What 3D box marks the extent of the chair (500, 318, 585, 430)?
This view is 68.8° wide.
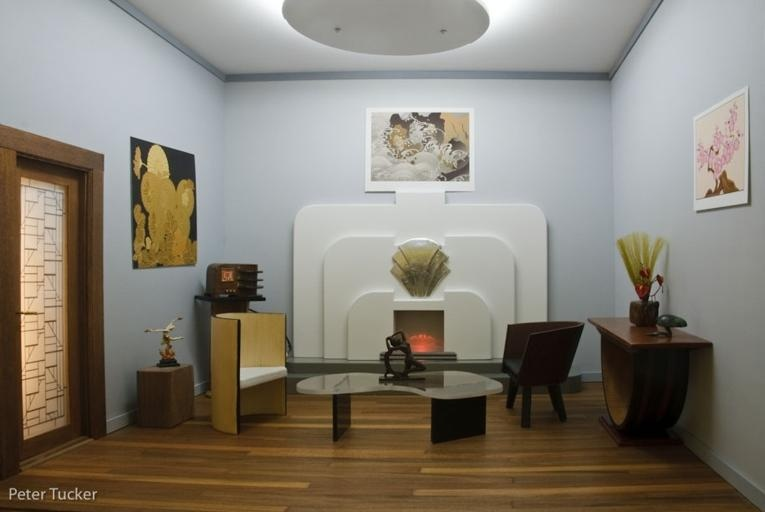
[{"bbox_3d":[1.825,1.292,6.428,0.775,1.081,0.856,-1,8,-4],"label":"chair"}]

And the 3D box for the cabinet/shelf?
[{"bbox_3d":[-2.512,1.598,6.441,0.455,0.588,0.602,-1,-6,2],"label":"cabinet/shelf"}]

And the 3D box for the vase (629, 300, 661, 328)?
[{"bbox_3d":[2.717,0.597,5.812,0.262,0.237,0.267,3,-4,-4],"label":"vase"}]

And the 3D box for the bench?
[{"bbox_3d":[-1.572,1.305,6.351,0.674,1.166,0.936,-2,-4,25],"label":"bench"}]

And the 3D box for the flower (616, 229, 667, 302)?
[{"bbox_3d":[2.829,0.121,6.115,0.444,0.754,0.800,5,10,34],"label":"flower"}]

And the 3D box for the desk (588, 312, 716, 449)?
[{"bbox_3d":[2.679,1.261,5.746,0.814,1.118,1.001,-1,8,-3],"label":"desk"}]
